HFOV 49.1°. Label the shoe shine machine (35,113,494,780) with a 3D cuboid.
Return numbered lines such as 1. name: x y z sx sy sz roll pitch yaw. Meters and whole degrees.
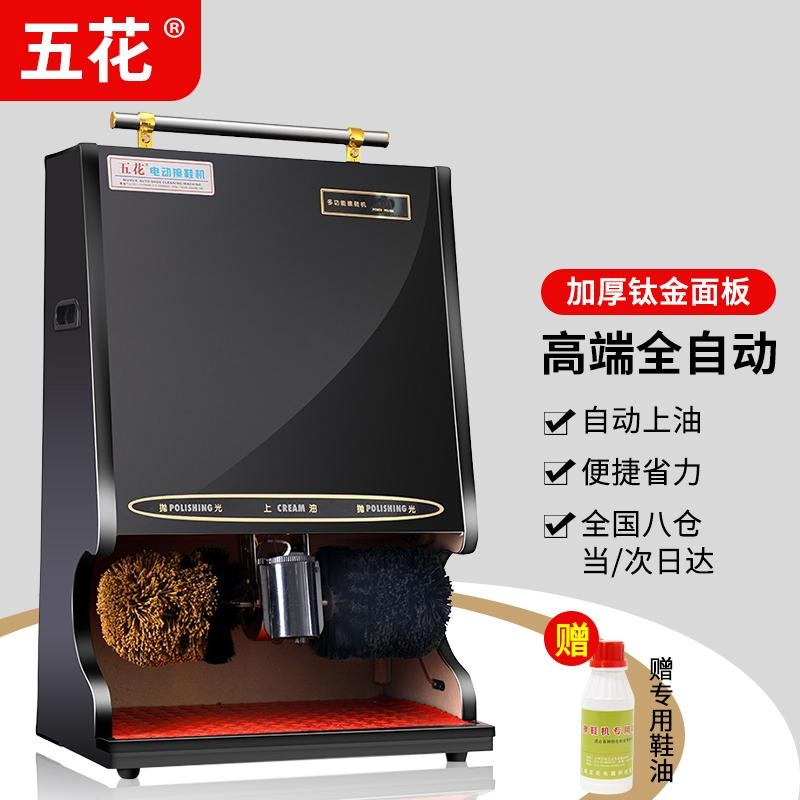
1. shoe shine machine: -0.206 0.037 1.285 0.613 0.839 0.459 4 2 -25
